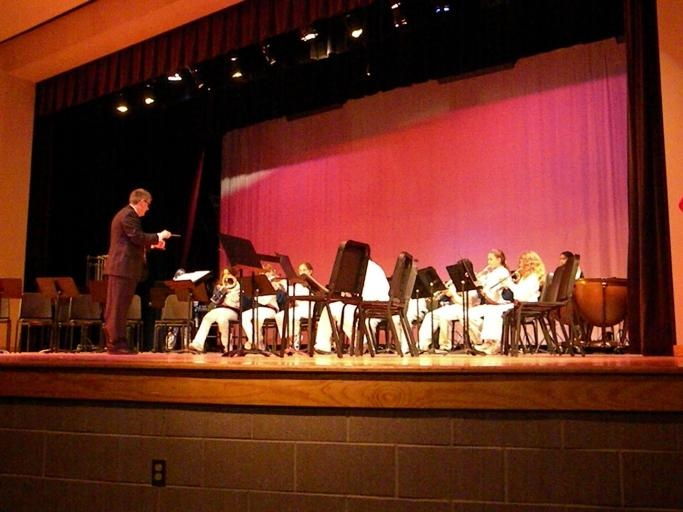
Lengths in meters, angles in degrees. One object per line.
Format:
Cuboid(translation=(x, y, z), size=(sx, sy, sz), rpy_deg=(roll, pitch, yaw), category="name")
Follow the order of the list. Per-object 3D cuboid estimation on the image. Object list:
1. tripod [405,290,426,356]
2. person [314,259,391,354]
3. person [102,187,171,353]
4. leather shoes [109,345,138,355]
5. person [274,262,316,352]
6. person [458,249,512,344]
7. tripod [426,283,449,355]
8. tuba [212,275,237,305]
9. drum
Cuboid(translation=(1.135, 0.906, 9.503), size=(0.443, 0.818, 0.177), rpy_deg=(3, -7, -38), category="tripod")
Cuboid(translation=(-0.036, 0.544, 7.126), size=(0.535, 0.966, 0.614), rpy_deg=(5, -5, -43), category="person")
Cuboid(translation=(-2.207, 0.117, 7.094), size=(0.534, 1.838, 0.535), rpy_deg=(7, -14, -35), category="person")
Cuboid(translation=(-2.240, 0.946, 6.882), size=(0.246, 0.120, 0.120), rpy_deg=(2, -4, -17), category="leather shoes")
Cuboid(translation=(-0.590, 0.451, 7.530), size=(0.417, 0.803, 0.446), rpy_deg=(4, -1, 43), category="person")
Cuboid(translation=(1.904, 0.416, 8.865), size=(0.456, 1.028, 0.392), rpy_deg=(9, 16, 11), category="person")
Cuboid(translation=(1.407, 0.844, 9.597), size=(0.389, 1.071, 0.154), rpy_deg=(8, -5, -31), category="tripod")
Cuboid(translation=(-1.623, 0.481, 9.389), size=(0.228, 0.189, 0.505), rpy_deg=(-16, 38, 0), category="tuba")
Cuboid(translation=(3.144, 0.679, 8.048), size=(0.730, 0.882, 0.749), rpy_deg=(3, 8, 41), category="drum")
